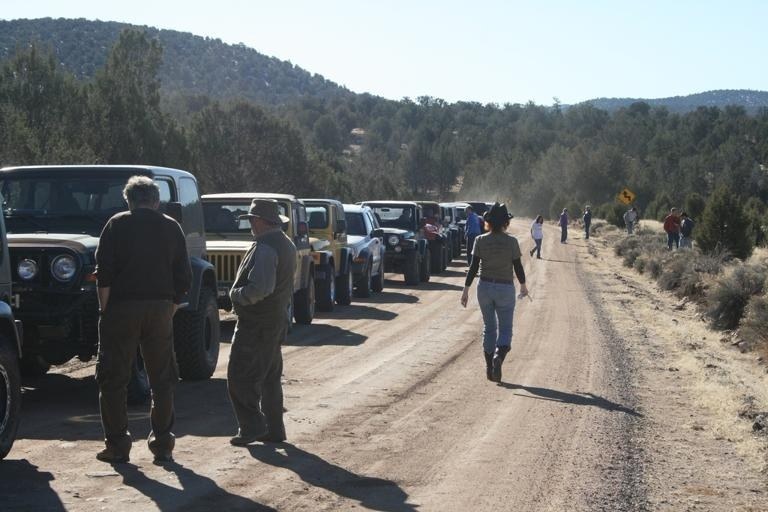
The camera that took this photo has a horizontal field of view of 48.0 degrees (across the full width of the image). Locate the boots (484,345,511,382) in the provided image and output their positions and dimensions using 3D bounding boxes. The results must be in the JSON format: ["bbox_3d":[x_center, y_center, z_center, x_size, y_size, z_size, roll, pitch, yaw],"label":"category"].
[{"bbox_3d":[1.758,1.684,13.392,0.349,0.540,0.395,1,9,0],"label":"boots"}]

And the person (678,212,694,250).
[{"bbox_3d":[11.240,-0.881,31.931,0.469,1.224,1.935,4,10,20],"label":"person"}]

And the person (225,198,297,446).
[{"bbox_3d":[-1.521,0.824,10.777,0.835,3.038,0.500,-2,9,-18],"label":"person"}]

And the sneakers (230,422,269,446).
[{"bbox_3d":[-1.640,2.228,10.786,0.555,0.300,0.220,0,2,-7],"label":"sneakers"}]

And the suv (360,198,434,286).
[{"bbox_3d":[0.449,-0.518,24.708,1.386,1.617,2.749,0,-3,8],"label":"suv"}]

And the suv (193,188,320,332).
[{"bbox_3d":[-2.513,0.118,17.230,2.372,2.666,4.332,0,4,10],"label":"suv"}]

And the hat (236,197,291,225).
[{"bbox_3d":[-1.420,-0.548,10.806,0.442,0.207,0.402,11,4,-23],"label":"hat"}]

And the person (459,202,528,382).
[{"bbox_3d":[1.758,0.561,13.404,0.774,2.723,0.752,1,9,-1],"label":"person"}]

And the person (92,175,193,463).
[{"bbox_3d":[-2.840,0.767,10.143,1.075,3.308,0.533,-2,9,-22],"label":"person"}]
